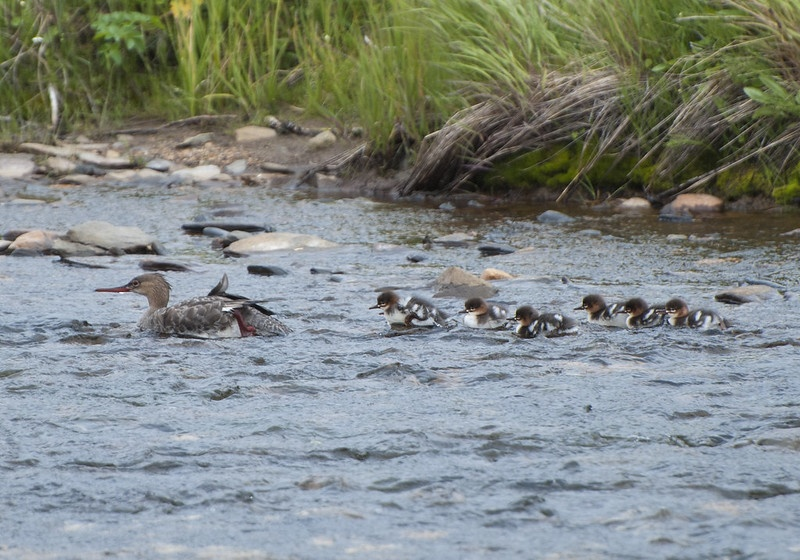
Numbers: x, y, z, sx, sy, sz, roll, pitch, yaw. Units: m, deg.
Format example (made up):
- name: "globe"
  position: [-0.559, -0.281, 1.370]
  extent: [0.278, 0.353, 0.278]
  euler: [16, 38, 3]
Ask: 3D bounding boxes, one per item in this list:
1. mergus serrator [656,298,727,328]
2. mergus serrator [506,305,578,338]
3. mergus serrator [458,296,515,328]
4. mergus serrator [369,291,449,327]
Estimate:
- name: "mergus serrator"
  position: [2.293, 0.280, 7.631]
  extent: [0.513, 0.185, 0.235]
  euler: [9, 26, 14]
- name: "mergus serrator"
  position: [1.095, 0.325, 7.643]
  extent: [0.480, 0.199, 0.244]
  euler: [-7, 7, 34]
- name: "mergus serrator"
  position: [0.694, 0.241, 7.914]
  extent: [0.375, 0.241, 0.334]
  euler: [5, 25, 2]
- name: "mergus serrator"
  position: [0.059, 0.210, 7.962]
  extent: [0.657, 0.178, 0.328]
  euler: [-5, 9, -31]
